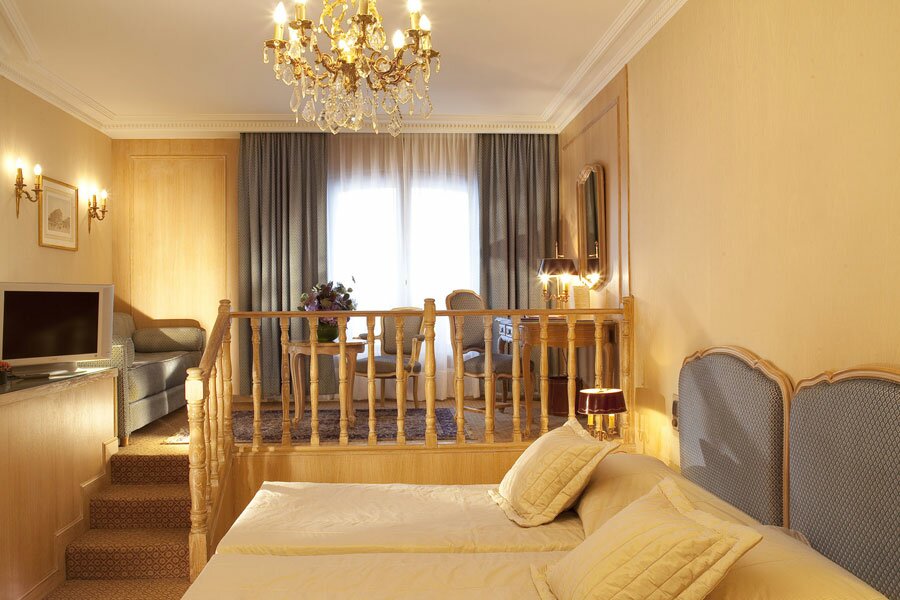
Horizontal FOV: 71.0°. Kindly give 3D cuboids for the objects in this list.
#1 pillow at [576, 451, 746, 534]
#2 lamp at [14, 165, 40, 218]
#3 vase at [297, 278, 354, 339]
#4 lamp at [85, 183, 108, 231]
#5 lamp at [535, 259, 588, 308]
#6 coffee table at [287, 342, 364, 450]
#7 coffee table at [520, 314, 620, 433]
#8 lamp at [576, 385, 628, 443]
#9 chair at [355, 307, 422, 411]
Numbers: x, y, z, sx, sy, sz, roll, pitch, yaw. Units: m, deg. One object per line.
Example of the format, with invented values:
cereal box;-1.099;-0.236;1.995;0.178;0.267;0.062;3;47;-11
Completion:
pillow;0.964;1.006;3.393;0.405;0.155;0.549;-16;9;-11
lamp;-3.973;-1.039;5.943;0.166;0.456;0.328;-5;10;-1
vase;-1.171;0.040;6.002;0.531;0.585;0.558;-4;-12;16
lamp;-3.967;-1.034;7.150;0.209;0.465;0.471;-6;10;-11
lamp;1.124;-0.130;6.668;0.451;0.681;0.468;0;-1;16
coffee table;-1.264;0.880;6.215;0.826;0.874;0.866;0;-5;-7
coffee table;1.055;0.482;5.793;0.932;1.190;1.181;-1;0;-1
lamp;1.172;0.908;4.954;0.371;0.409;0.363;3;-3;-44
chair;-0.557;0.694;7.036;0.874;1.396;0.932;-1;-9;13
